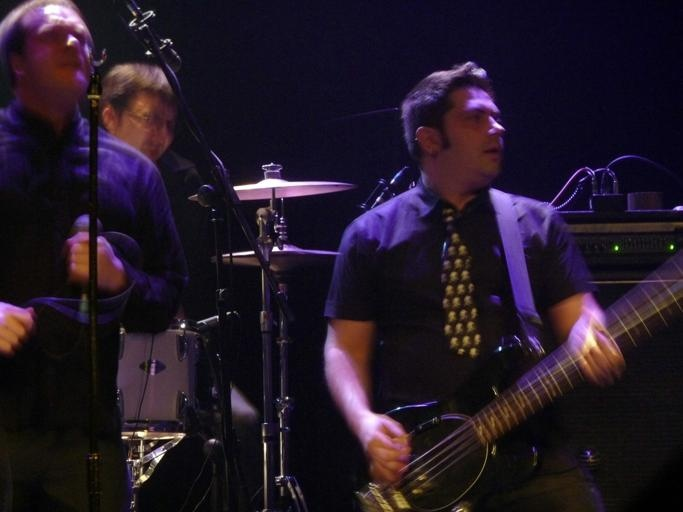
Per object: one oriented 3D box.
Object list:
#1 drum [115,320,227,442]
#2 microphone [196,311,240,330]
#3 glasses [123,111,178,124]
[{"bbox_3d":[-0.776,0.657,4.248,0.586,0.761,0.560,-1,-8,0],"label":"drum"},{"bbox_3d":[-0.600,0.307,3.823,0.151,0.037,0.147,-14,-2,31],"label":"microphone"},{"bbox_3d":[-0.998,-0.708,4.092,0.136,0.035,0.128,1,1,10],"label":"glasses"}]
